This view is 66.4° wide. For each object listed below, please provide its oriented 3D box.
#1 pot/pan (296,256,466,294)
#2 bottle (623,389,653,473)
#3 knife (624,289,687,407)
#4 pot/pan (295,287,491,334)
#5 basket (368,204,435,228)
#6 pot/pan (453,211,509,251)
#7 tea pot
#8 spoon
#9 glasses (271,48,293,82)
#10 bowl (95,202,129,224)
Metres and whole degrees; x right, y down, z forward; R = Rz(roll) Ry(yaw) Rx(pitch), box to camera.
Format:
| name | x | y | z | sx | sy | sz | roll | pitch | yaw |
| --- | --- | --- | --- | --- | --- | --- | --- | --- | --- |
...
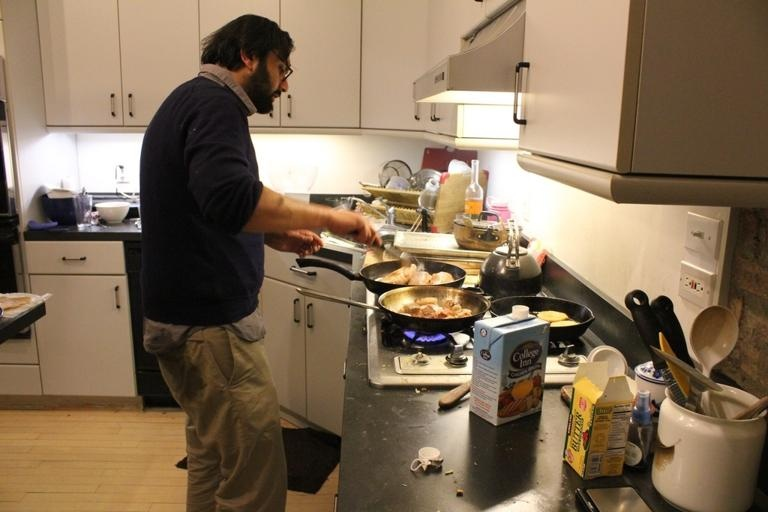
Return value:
| name | x | y | z | sx | sy | sz | roll | pitch | yaw |
| --- | --- | --- | --- | --- | --- | --- | --- | --- | --- |
| pot/pan | 0.046 | 0.070 | 2.334 | 0.437 | 0.073 | 0.261 | -1 | 11 | -11 |
| bottle | 0.620 | 0.407 | 1.396 | 0.092 | 0.193 | 0.040 | -7 | 9 | -33 |
| knife | 0.694 | 0.213 | 1.430 | 0.105 | 0.295 | 0.052 | -19 | -14 | 5 |
| pot/pan | 0.118 | 0.174 | 1.952 | 0.433 | 0.071 | 0.255 | 0 | 7 | 4 |
| basket | 0.118 | -0.235 | 3.341 | 0.301 | 0.067 | 0.163 | 10 | 22 | 18 |
| pot/pan | 0.428 | -0.132 | 2.679 | 0.177 | 0.121 | 0.218 | 4 | 13 | -1 |
| tea pot | 0.460 | 0.008 | 2.152 | 0.247 | 0.251 | 0.261 | 0 | 7 | 0 |
| spoon | 0.752 | 0.253 | 1.346 | 0.096 | 0.285 | 0.041 | 7 | -34 | 26 |
| glasses | -0.397 | -0.728 | 2.222 | 0.035 | 0.108 | 0.105 | 3 | 10 | 12 |
| bowl | -1.679 | -0.268 | 3.650 | 0.176 | 0.134 | 0.228 | -5 | 8 | -26 |
